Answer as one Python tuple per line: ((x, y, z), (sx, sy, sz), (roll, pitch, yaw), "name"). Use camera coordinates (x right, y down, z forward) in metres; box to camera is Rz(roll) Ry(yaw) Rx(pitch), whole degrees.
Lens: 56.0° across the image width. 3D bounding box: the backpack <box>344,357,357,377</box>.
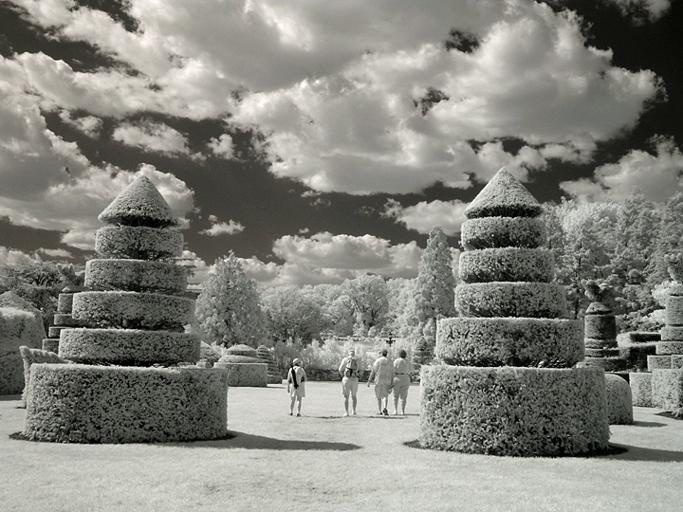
((0.273, 3.306, 18.876), (0.413, 0.529, 0.314), (3, -13, -9), "backpack")
